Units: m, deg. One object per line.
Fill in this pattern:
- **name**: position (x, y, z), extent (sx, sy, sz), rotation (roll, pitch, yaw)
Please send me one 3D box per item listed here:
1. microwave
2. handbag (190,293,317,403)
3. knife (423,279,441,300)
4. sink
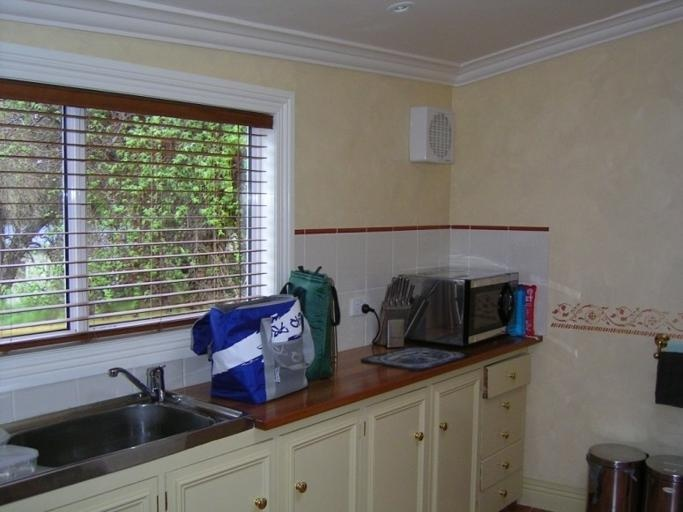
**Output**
- **microwave**: position (0.759, 0.302, 3.499), extent (0.716, 0.409, 0.534), rotation (-3, 4, -42)
- **handbag**: position (-0.388, 0.419, 2.533), extent (0.612, 0.437, 0.378), rotation (-4, 6, -44)
- **knife**: position (0.527, 0.195, 3.220), extent (0.027, 0.088, 0.101), rotation (25, -26, -9)
- **sink**: position (-0.863, 0.733, 2.166), extent (0.840, 0.205, 0.567), rotation (-4, 4, -39)
